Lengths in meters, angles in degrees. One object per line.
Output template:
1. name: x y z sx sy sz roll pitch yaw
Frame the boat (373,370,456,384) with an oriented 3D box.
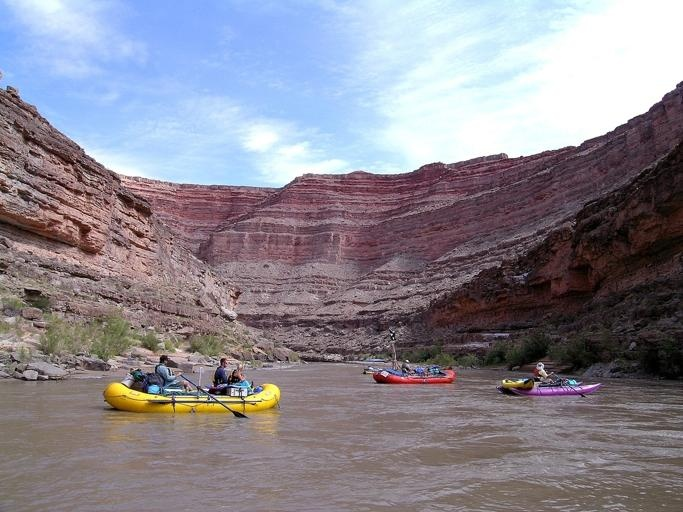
1. boat: 3.387 5.478 22.268 2.932 0.375 1.103 1 -9 -6

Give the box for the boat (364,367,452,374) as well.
1. boat: 3.314 5.324 22.870 3.639 0.341 1.405 1 -11 -12

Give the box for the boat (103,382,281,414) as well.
1. boat: -4.061 3.811 13.207 3.396 0.440 1.603 4 -13 -16
